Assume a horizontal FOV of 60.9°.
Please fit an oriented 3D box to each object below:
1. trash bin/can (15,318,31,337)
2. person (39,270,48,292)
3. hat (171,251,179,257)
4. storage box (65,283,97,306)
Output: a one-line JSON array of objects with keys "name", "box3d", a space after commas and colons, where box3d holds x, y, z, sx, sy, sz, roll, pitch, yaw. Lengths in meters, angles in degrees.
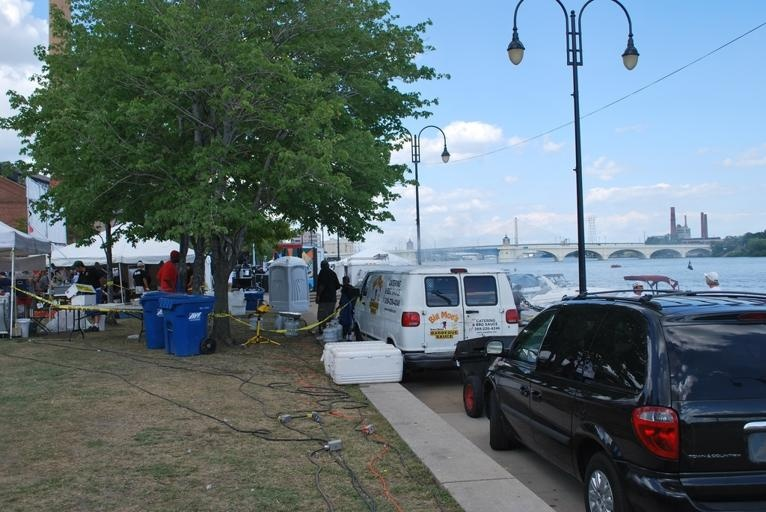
[{"name": "trash bin/can", "box3d": [-10.582, 2.141, 19.184, 0.469, 0.557, 0.471, -1, -2, 26]}, {"name": "person", "box3d": [-13.631, 1.040, 26.176, 0.466, 0.832, 0.785, 2, 5, -21]}, {"name": "hat", "box3d": [-6.454, -0.044, 20.170, 0.259, 0.144, 0.359, -1, 2, -7]}, {"name": "storage box", "box3d": [-8.525, 1.144, 18.430, 0.661, 0.539, 1.434, 1, 4, -28]}]
